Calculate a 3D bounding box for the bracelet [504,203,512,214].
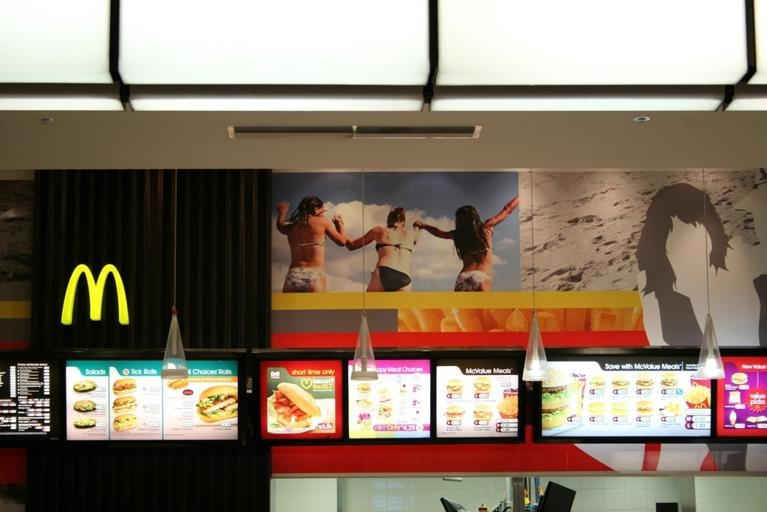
[{"bbox_3d":[1.099,-0.418,7.526,0.061,0.056,0.016,13,-4,-8],"label":"bracelet"}]
